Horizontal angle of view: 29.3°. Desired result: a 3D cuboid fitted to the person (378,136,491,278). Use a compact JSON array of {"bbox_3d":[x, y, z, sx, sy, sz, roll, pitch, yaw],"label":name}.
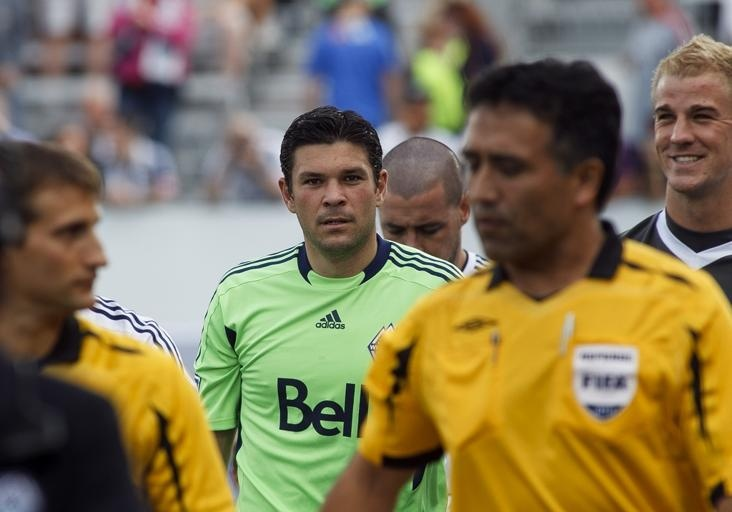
[{"bbox_3d":[0.337,-0.268,7.097,0.553,0.854,0.616,-5,12,11],"label":"person"}]
